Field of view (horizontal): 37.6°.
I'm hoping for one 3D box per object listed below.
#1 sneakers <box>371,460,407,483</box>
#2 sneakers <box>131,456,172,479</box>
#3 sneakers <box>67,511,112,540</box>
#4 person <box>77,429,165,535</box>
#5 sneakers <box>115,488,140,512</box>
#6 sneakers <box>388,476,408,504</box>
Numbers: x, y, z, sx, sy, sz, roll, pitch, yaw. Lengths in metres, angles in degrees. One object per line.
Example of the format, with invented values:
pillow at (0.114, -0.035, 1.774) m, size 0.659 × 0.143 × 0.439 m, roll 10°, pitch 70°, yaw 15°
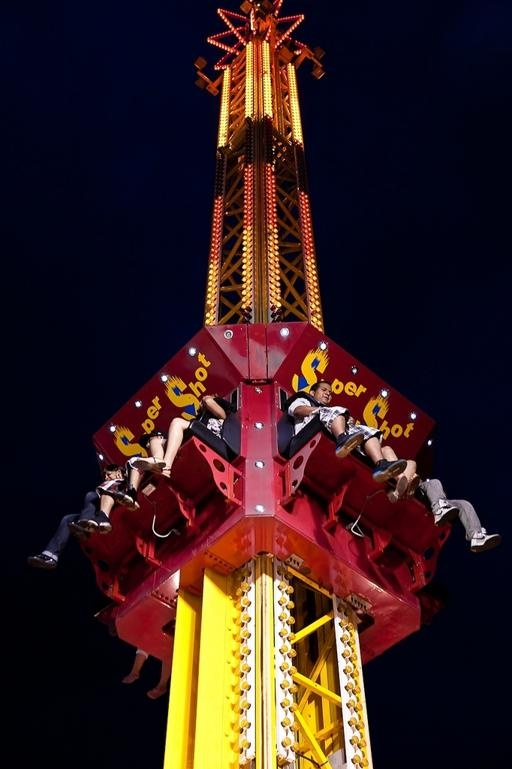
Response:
sneakers at (1.413, 0.931, 8.011) m, size 0.278 × 0.191 × 0.127 m, roll -33°, pitch -53°, yaw 6°
sneakers at (-1.188, 0.951, 8.542) m, size 0.509 × 0.179 × 0.203 m, roll 14°, pitch -89°, yaw -7°
sneakers at (-2.003, 1.742, 9.191) m, size 0.239 × 0.697 × 0.291 m, roll 40°, pitch -117°, yaw -25°
person at (-1.858, 1.388, 9.538) m, size 0.529 × 0.849 × 1.558 m, roll -25°, pitch -19°, yaw 13°
sneakers at (-1.508, 1.319, 8.671) m, size 0.192 × 0.302 × 0.152 m, roll 22°, pitch -75°, yaw -21°
sneakers at (1.541, 1.151, 8.242) m, size 0.143 × 0.151 × 0.364 m, roll -6°, pitch -67°, yaw -46°
